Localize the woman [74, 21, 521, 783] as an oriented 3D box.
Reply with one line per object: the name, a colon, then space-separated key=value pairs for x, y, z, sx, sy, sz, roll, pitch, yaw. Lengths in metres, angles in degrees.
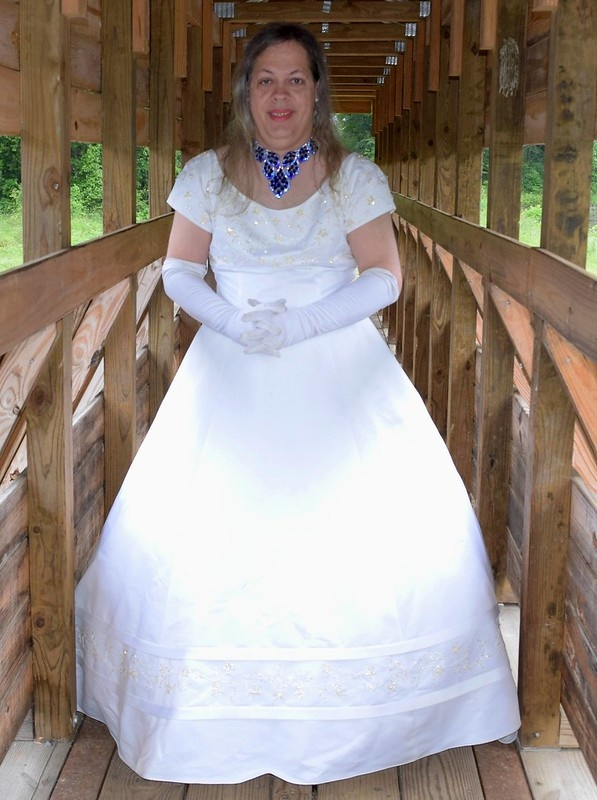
woman: x=0.057 y=-0.041 z=1.380 sx=0.894 sy=1.663 sz=0.767 roll=-4 pitch=6 yaw=35

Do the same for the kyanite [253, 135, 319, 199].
kyanite: x=-0.039 y=-0.581 z=1.345 sx=0.110 sy=0.160 sz=0.006 roll=0 pitch=0 yaw=-5

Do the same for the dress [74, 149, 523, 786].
dress: x=0.092 y=0.077 z=1.368 sx=0.736 sy=1.342 sz=0.610 roll=-6 pitch=8 yaw=23
